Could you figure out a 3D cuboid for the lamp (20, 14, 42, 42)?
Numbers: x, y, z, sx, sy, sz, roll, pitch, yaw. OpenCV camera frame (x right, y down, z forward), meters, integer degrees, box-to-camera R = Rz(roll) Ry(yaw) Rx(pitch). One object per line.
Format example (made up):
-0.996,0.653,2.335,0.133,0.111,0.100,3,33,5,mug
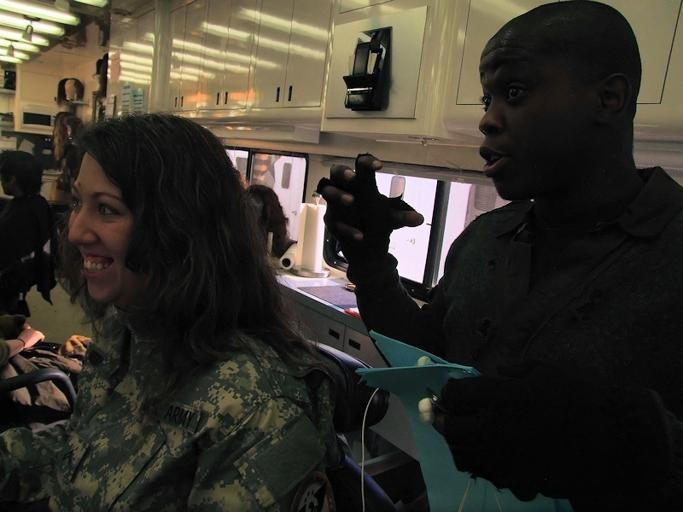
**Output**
-1.976,-1.420,3.385,0.097,0.127,0.145,-1,7,-32,lamp

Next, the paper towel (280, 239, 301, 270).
-0.341,-0.003,3.447,0.070,0.072,0.222,11,25,3,paper towel
